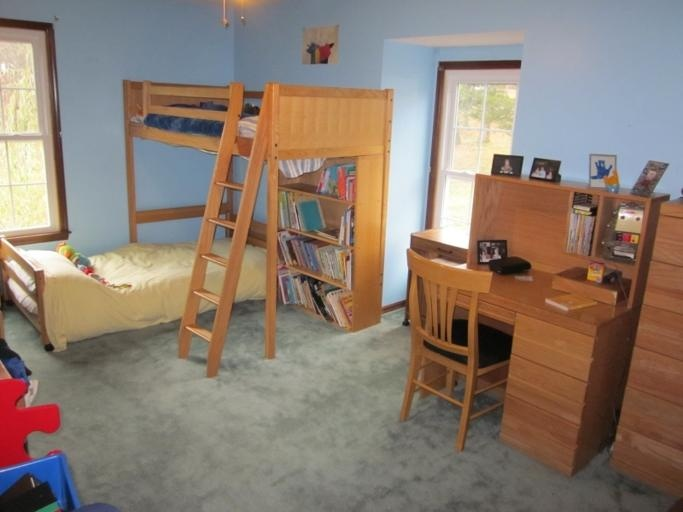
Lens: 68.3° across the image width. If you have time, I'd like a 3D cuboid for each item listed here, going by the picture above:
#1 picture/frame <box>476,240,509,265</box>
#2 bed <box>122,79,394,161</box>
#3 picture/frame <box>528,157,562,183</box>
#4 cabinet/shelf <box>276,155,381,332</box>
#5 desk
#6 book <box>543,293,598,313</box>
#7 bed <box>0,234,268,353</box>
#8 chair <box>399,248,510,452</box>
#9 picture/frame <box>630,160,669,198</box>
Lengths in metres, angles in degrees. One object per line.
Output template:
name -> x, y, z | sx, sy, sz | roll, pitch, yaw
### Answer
picture/frame -> 1.039, -0.025, 3.502 | 0.177, 0.127, 0.018 | 1, -1, -15
bed -> -0.971, -1.226, 4.410 | 2.269, 0.561, 1.178 | 16, 21, 39
picture/frame -> 1.303, -0.570, 3.280 | 0.201, 0.194, 0.164 | 19, 25, 40
cabinet/shelf -> -0.089, -0.115, 4.397 | 0.538, 1.849, 1.209 | -6, 13, -34
desk -> 1.203, 0.329, 3.292 | 0.878, 1.543, 1.170 | -11, 22, -37
book -> 1.334, 0.263, 2.932 | 0.286, 0.034, 0.195 | -9, 20, -36
bed -> -1.754, 0.253, 4.394 | 1.480, 0.453, 1.067 | -14, 26, -37
chair -> 0.798, 0.537, 3.218 | 0.723, 1.051, 0.713 | 9, 14, 30
picture/frame -> 1.736, -0.445, 2.868 | 0.149, 0.190, 0.115 | -7, 19, -29
